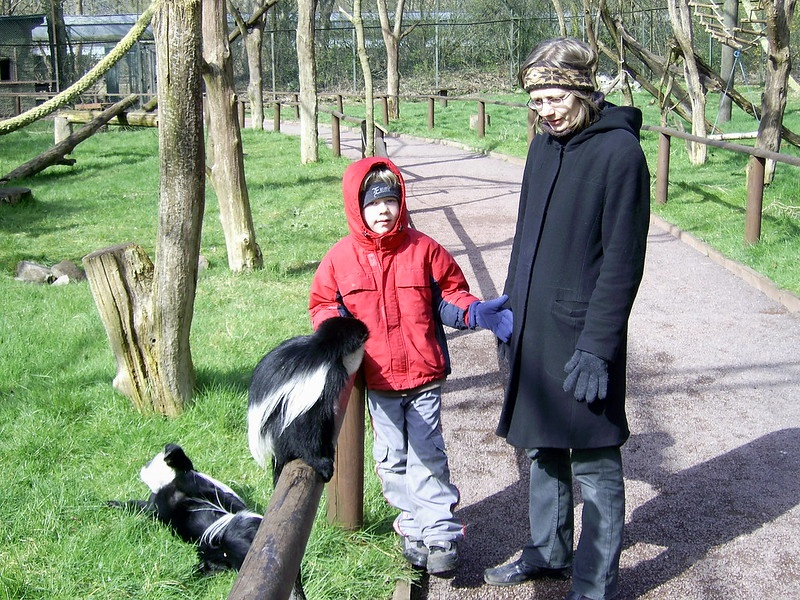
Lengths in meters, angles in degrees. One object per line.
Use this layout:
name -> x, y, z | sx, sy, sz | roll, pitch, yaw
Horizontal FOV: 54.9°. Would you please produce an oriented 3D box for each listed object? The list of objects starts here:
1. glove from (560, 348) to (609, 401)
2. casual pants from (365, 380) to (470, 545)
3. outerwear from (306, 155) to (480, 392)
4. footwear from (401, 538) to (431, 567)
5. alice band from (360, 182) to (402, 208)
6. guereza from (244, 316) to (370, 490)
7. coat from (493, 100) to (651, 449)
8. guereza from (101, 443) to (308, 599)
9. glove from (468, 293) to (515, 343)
glove -> 0.776, 0.318, 3.235 | 0.149, 0.236, 0.066 | 13, -14, 12
casual pants -> 0.068, 0.801, 3.806 | 0.448, 0.716, 0.416 | -2, 16, 3
outerwear -> -0.051, -0.127, 3.845 | 0.750, 1.228, 0.550 | -6, -2, -2
footwear -> 0.072, 1.236, 3.764 | 0.068, 0.092, 0.182 | 6, -4, -16
alice band -> -0.094, -0.529, 3.755 | 0.113, 0.071, 0.139 | -13, 1, 34
guereza -> -0.276, 0.337, 2.647 | 0.289, 0.449, 0.479 | 10, 22, 38
coat -> 0.757, -0.101, 3.434 | 0.629, 1.460, 0.517 | 2, 17, 19
guereza -> -1.044, 1.020, 3.908 | 0.389, 0.574, 0.958 | -18, 23, -41
glove -> 0.472, 0.101, 4.038 | 0.304, 0.208, 0.109 | 18, 4, 1
